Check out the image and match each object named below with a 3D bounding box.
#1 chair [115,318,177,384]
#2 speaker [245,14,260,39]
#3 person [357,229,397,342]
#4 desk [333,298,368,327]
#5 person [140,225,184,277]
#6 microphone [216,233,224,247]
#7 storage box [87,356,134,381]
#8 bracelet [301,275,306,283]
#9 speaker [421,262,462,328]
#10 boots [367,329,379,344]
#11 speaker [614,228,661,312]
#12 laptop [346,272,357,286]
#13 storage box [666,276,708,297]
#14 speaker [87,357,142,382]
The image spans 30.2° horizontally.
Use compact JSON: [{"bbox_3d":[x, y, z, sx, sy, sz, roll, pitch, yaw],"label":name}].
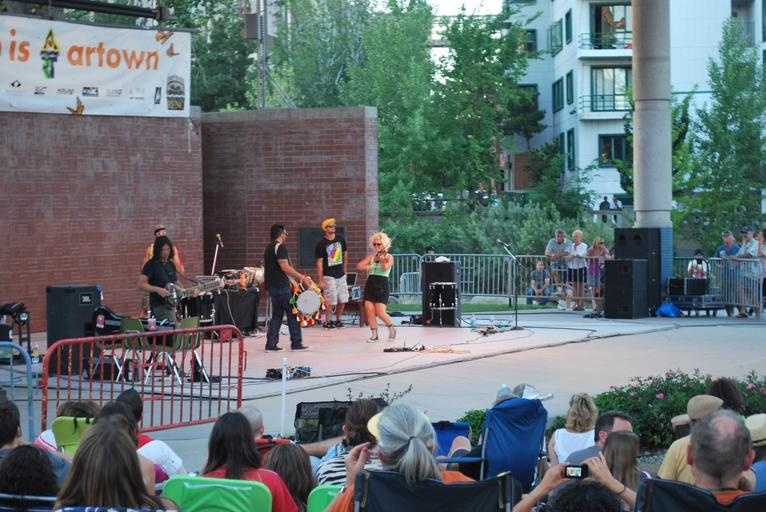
[{"bbox_3d":[-5.101,2.025,31.842,1.049,1.199,0.962,-3,8,-29],"label":"chair"},{"bbox_3d":[-3.791,-6.578,40.339,0.356,0.660,0.621,-1,-3,-6],"label":"speaker"},{"bbox_3d":[-0.147,0.743,35.482,0.931,2.733,1.095,4,-3,5],"label":"person"},{"bbox_3d":[-0.864,1.446,38.090,0.945,0.813,0.671,-1,-6,9],"label":"desk"},{"bbox_3d":[-5.801,-0.174,37.097,0.986,1.626,1.259,1,-9,14],"label":"person"},{"bbox_3d":[-4.647,-0.478,40.037,0.143,0.448,0.060,-19,-16,-11],"label":"microphone"},{"bbox_3d":[-6.166,2.530,32.017,0.912,0.526,0.872,2,-3,5],"label":"storage box"},{"bbox_3d":[-1.995,0.534,34.720,0.109,0.150,0.143,8,21,22],"label":"bracelet"},{"bbox_3d":[1.481,0.981,37.413,0.982,1.715,0.485,-1,-2,2],"label":"speaker"},{"bbox_3d":[-0.228,1.996,35.713,0.390,0.343,0.193,2,0,-15],"label":"boots"},{"bbox_3d":[6.991,0.414,38.890,1.093,2.303,1.159,1,-4,17],"label":"speaker"},{"bbox_3d":[-0.911,0.606,38.553,0.405,0.262,0.041,0,10,-15],"label":"laptop"},{"bbox_3d":[8.180,0.824,38.276,0.671,0.380,0.660,3,-4,-31],"label":"storage box"},{"bbox_3d":[-6.159,2.540,31.874,1.093,0.483,0.777,-1,-5,24],"label":"speaker"}]
